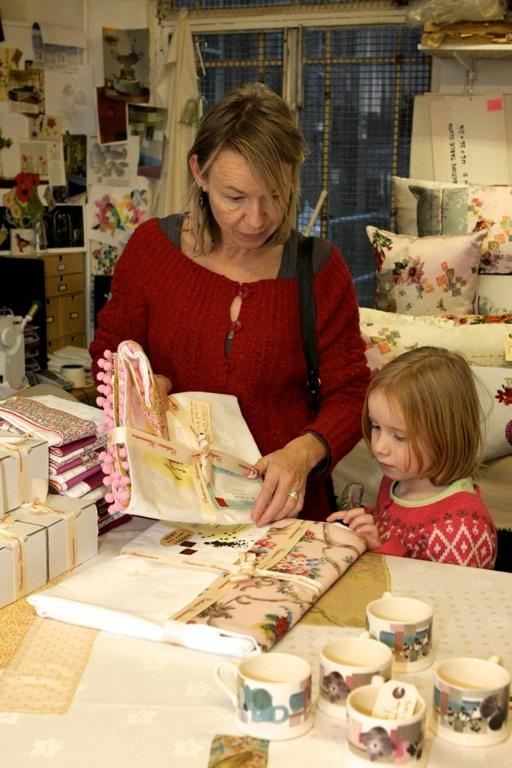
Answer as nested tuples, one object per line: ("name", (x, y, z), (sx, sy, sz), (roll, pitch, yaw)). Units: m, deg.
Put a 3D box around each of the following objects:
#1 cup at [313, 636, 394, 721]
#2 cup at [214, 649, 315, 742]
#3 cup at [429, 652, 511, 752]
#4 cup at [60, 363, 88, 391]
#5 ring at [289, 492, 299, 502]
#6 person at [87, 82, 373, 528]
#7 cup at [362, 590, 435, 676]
("cup", (0.084, 0.248, 0.534), (0.059, 0.045, 0.060), (0, 4, 0))
("cup", (0.007, 0.264, 0.520), (0.081, 0.049, 0.064), (-3, -5, 21))
("cup", (0.180, 0.249, 0.497), (0.055, 0.045, 0.065), (0, 5, 19))
("cup", (-0.856, -0.035, 2.898), (0.128, 0.106, 0.146), (0, 9, -17))
("ring", (0.063, 0.185, 1.014), (0.014, 0.013, 0.019), (7, 9, 26))
("person", (-0.024, -0.141, 1.267), (0.548, 0.875, 0.473), (9, 11, 37))
("cup", (0.144, 0.261, 0.637), (0.074, 0.054, 0.061), (-3, 7, 12))
